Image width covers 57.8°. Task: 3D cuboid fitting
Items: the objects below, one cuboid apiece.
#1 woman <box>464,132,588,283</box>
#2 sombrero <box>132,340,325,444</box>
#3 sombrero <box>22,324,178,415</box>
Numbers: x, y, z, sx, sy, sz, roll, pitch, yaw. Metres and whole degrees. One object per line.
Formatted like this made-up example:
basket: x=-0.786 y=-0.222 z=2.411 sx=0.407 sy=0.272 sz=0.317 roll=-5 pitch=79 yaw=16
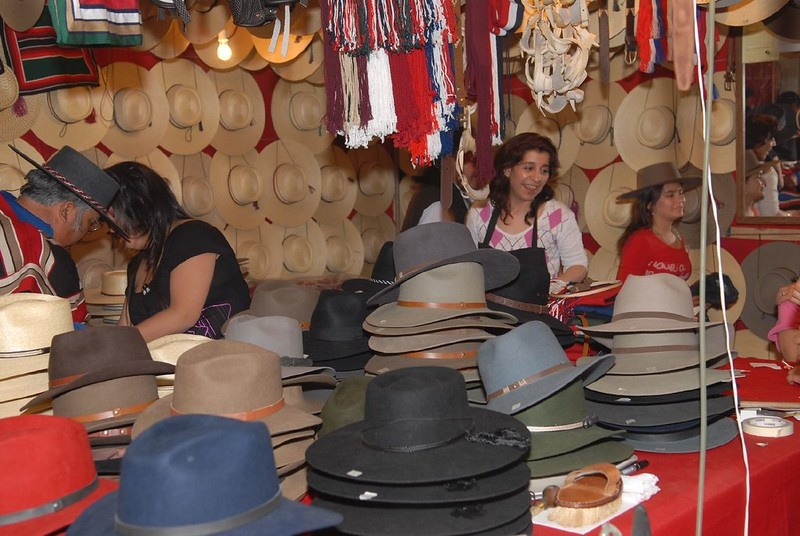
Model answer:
woman: x=0.945 y=-0.344 z=5.368 sx=0.847 sy=1.404 sz=0.787 roll=3 pitch=20 yaw=8
sombrero: x=-0.637 y=0.401 z=2.953 sx=0.479 sy=0.219 sz=0.466 roll=8 pitch=3 yaw=14
sombrero: x=-1.392 y=0.419 z=3.313 sx=0.707 sy=0.310 sz=0.634 roll=-9 pitch=0 yaw=-18
